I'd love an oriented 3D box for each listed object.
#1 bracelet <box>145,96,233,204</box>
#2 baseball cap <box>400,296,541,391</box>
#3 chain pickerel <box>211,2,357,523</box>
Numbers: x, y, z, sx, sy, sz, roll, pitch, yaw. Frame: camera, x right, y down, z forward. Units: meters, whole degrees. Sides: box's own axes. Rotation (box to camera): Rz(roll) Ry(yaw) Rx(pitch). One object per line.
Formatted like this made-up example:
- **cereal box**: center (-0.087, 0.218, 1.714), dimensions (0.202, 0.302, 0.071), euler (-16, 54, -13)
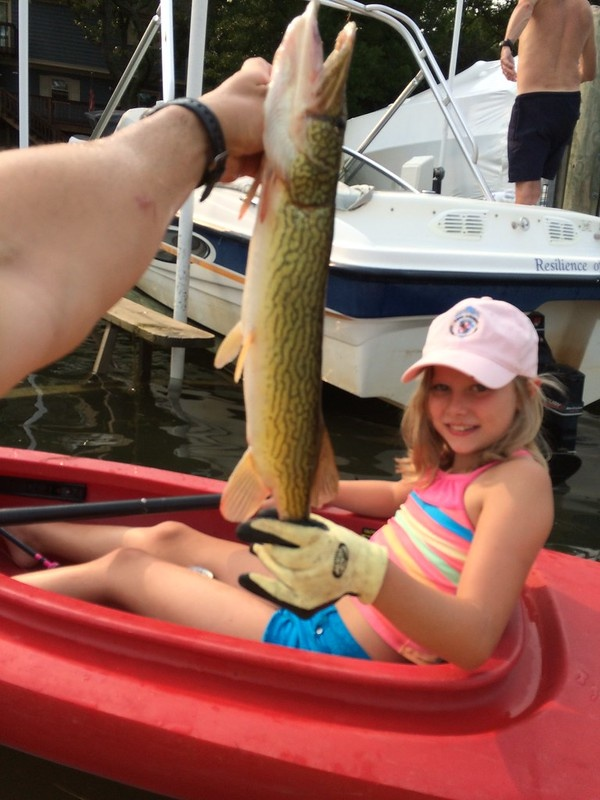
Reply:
- **bracelet**: center (-0.118, -0.274, 0.831), dimensions (0.060, 0.088, 0.101), euler (15, 17, 33)
- **baseball cap**: center (0.385, -0.134, 1.815), dimensions (0.211, 0.147, 0.303), euler (13, 12, 43)
- **chain pickerel**: center (-0.017, -0.134, 1.032), dimensions (0.120, 0.699, 0.181), euler (7, 15, 1)
